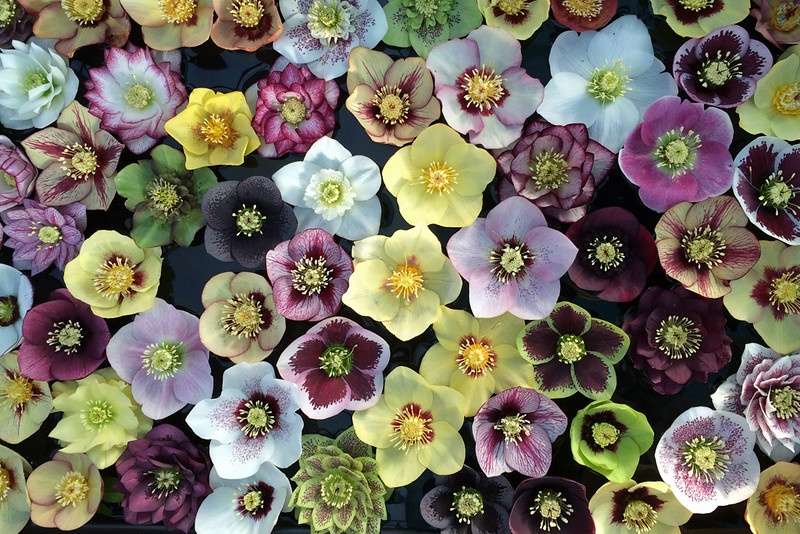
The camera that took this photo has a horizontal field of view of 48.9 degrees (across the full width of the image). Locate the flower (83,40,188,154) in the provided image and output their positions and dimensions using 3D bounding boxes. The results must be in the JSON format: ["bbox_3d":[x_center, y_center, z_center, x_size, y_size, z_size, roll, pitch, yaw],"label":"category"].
[{"bbox_3d":[-0.880,-0.649,3.214,0.435,0.450,0.170,5,85,-24],"label":"flower"}]
